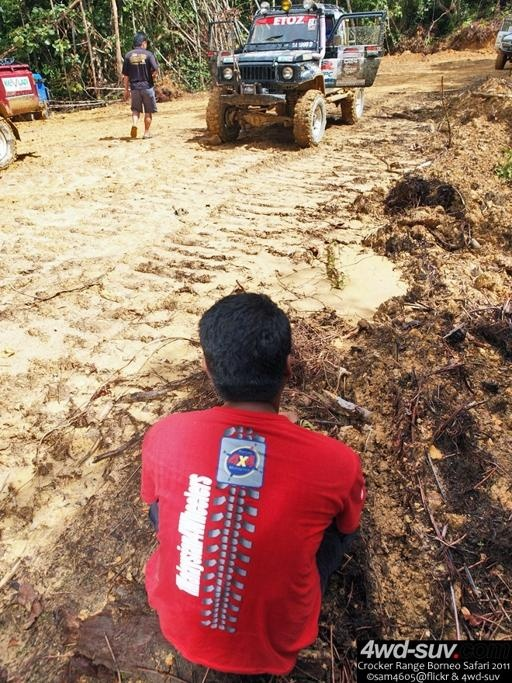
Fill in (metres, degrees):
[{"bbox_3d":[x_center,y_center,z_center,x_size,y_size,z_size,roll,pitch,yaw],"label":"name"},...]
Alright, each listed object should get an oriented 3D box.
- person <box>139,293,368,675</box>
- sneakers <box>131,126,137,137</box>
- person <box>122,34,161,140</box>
[{"bbox_3d":[-0.036,0.454,1.731,0.552,1.029,0.660,23,40,36],"label":"person"},{"bbox_3d":[-2.010,-3.426,9.492,0.088,0.219,0.085,3,61,-11],"label":"sneakers"},{"bbox_3d":[-1.858,-4.118,9.371,0.577,1.518,0.641,-8,32,-9],"label":"person"}]
